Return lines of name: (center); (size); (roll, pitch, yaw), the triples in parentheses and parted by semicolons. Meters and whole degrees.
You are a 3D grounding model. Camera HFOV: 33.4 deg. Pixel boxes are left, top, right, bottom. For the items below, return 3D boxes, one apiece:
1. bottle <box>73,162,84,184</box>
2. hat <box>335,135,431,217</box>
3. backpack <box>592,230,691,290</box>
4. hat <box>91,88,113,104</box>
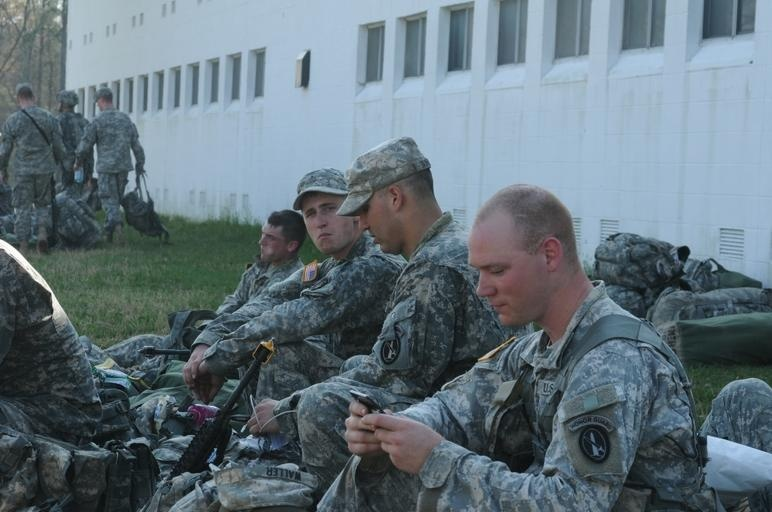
bottle: (-5.875, -1.581, 24.530); (0.165, 0.263, 0.748); (4, 47, -13)
hat: (-0.043, -0.757, 14.572); (0.977, 0.529, 0.710); (-31, 0, 6)
backpack: (3.496, 0.075, 17.805); (0.899, 0.472, 0.797); (1, 11, 15)
hat: (-5.263, -3.017, 24.043); (0.225, 0.338, 0.325); (-6, 27, -30)
